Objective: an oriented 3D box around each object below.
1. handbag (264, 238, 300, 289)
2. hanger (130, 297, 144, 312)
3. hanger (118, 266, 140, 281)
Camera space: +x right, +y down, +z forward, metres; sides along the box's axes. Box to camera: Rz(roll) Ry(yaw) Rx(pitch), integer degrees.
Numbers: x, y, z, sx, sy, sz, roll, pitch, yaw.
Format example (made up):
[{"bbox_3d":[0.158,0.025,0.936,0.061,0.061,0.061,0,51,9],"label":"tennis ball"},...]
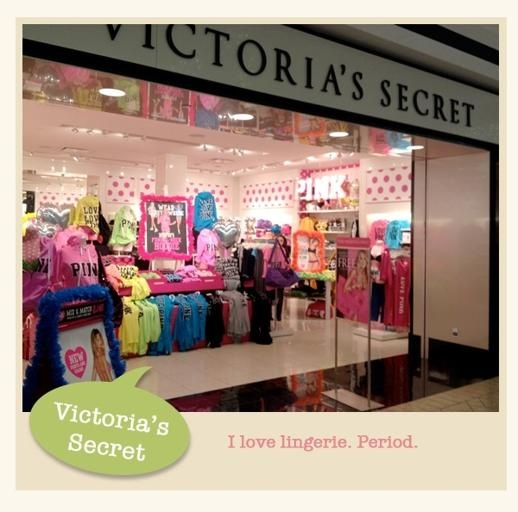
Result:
[{"bbox_3d":[0.343,0.120,6.871,0.573,0.941,0.178,0,-25,-10],"label":"handbag"},{"bbox_3d":[-1.563,0.638,5.289,0.140,0.152,0.274,5,-5,-20],"label":"hanger"},{"bbox_3d":[-1.751,0.223,5.613,0.239,0.208,0.358,0,-6,36],"label":"hanger"}]
